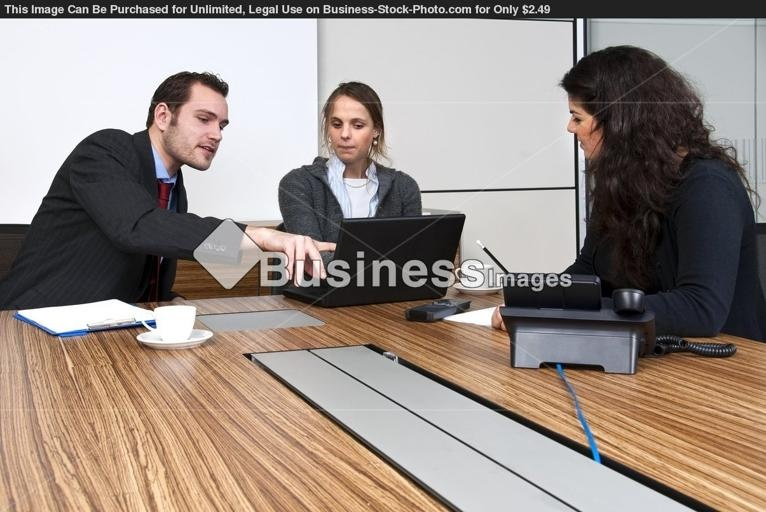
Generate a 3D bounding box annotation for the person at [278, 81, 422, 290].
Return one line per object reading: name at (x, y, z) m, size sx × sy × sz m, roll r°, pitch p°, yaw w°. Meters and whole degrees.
person at (-0.148, -0.285, 2.056) m, size 0.665 × 0.755 × 0.587 m, roll -7°, pitch 19°, yaw -22°

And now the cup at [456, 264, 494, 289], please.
cup at (0.296, 0.073, 1.628) m, size 0.101 × 0.063 × 0.074 m, roll -3°, pitch -2°, yaw 27°

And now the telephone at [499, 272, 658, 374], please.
telephone at (0.373, 0.133, 1.067) m, size 0.312 × 0.166 × 0.234 m, roll 4°, pitch -1°, yaw -11°

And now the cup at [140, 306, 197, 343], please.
cup at (-0.463, 0.144, 1.089) m, size 0.093 × 0.058 × 0.071 m, roll -2°, pitch 3°, yaw -14°

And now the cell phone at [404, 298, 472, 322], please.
cell phone at (0.154, 0.138, 1.389) m, size 0.070 × 0.030 × 0.142 m, roll 1°, pitch 4°, yaw 36°

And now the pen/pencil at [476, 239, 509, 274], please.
pen/pencil at (0.403, 0.004, 1.840) m, size 0.025 × 0.152 × 0.024 m, roll -43°, pitch -36°, yaw 16°

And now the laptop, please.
laptop at (0.027, 0.019, 1.459) m, size 0.388 × 0.207 × 0.339 m, roll -3°, pitch 6°, yaw -27°
